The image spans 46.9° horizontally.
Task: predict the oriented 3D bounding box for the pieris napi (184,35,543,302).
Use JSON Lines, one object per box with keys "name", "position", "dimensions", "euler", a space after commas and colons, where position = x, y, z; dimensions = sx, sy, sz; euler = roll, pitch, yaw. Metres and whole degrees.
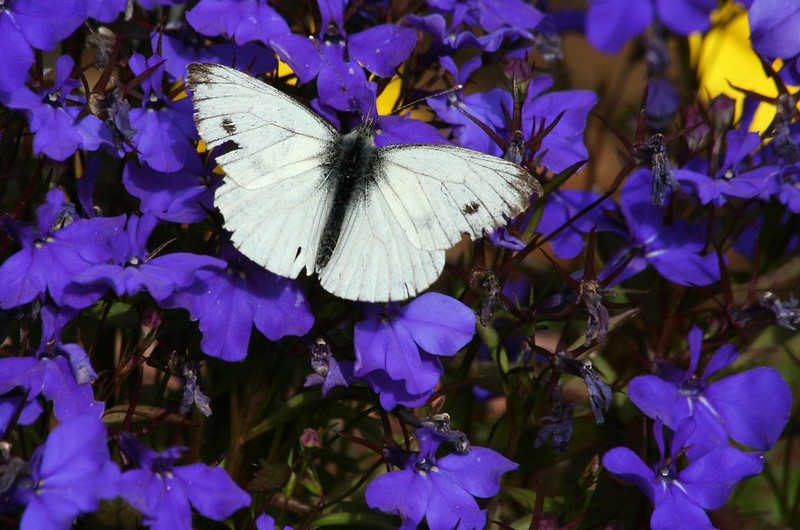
{"name": "pieris napi", "position": [-0.064, -0.088, 1.104], "dimensions": [0.459, 0.298, 0.057], "euler": [24, 2, 5]}
